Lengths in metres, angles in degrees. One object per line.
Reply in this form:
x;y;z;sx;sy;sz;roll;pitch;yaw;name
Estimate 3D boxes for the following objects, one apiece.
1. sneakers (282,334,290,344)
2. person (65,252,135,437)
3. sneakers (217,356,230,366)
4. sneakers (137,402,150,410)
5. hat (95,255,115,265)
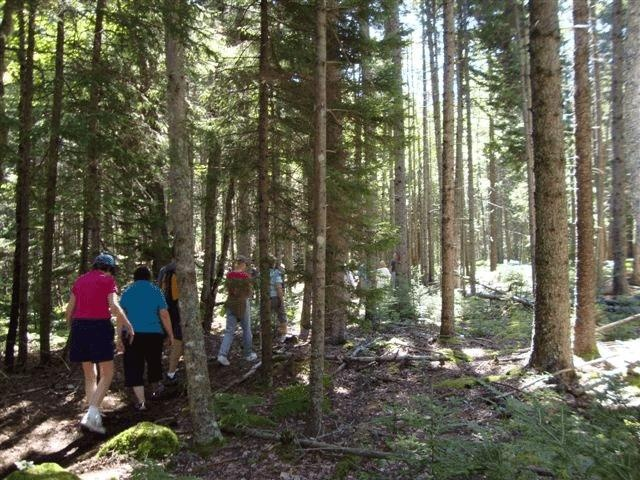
-0.945;2.666;15.270;0.178;0.239;0.322;6;-5;-21;sneakers
-4.640;2.103;11.707;1.101;3.587;0.738;-2;-4;-24;person
-2.339;2.908;13.748;0.219;0.165;0.320;-19;-44;16;sneakers
-3.819;3.570;12.207;0.219;0.163;0.207;-1;-4;-36;sneakers
-4.639;0.426;12.072;0.324;0.186;0.237;4;-5;21;hat
